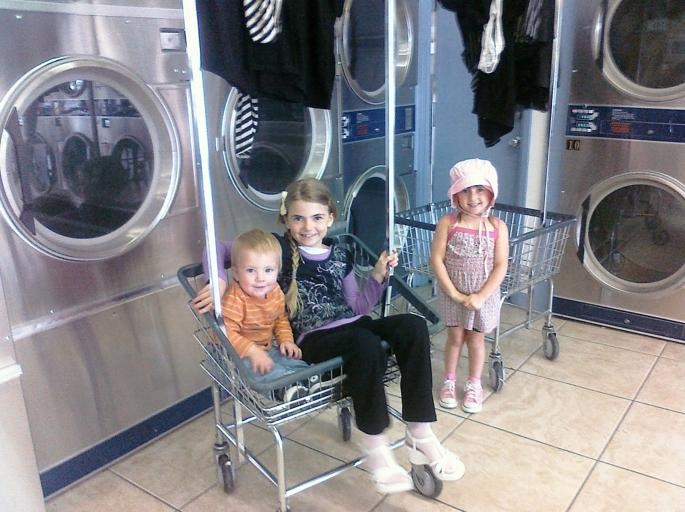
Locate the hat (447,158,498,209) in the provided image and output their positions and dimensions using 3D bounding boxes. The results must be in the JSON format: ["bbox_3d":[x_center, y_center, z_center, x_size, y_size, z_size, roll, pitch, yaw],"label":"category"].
[{"bbox_3d":[0.621,-0.372,2.420,0.183,0.192,0.248,5,35,23],"label":"hat"}]

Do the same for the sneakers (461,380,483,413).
[{"bbox_3d":[0.651,0.706,2.546,0.067,0.085,0.190,0,4,11],"label":"sneakers"}]

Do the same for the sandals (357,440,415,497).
[{"bbox_3d":[0.154,0.751,1.848,0.101,0.118,0.268,-5,5,-17],"label":"sandals"}]

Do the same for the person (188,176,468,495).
[{"bbox_3d":[0.020,0.243,2.081,0.632,1.134,0.902,-5,1,-40],"label":"person"}]

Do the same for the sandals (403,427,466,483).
[{"bbox_3d":[0.354,0.736,2.052,0.260,0.184,0.140,10,27,37],"label":"sandals"}]
